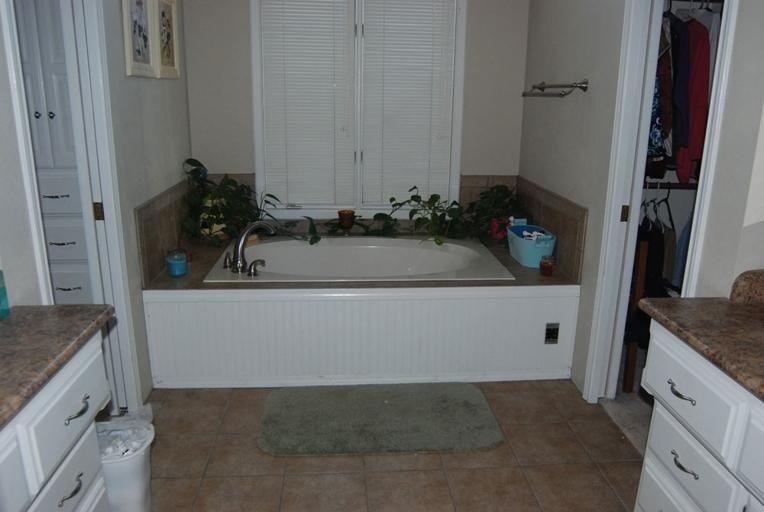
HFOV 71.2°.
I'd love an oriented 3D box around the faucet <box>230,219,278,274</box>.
[{"bbox_3d":[-0.851,-0.053,3.522,0.293,0.333,0.416,-12,19,-33],"label":"faucet"}]
